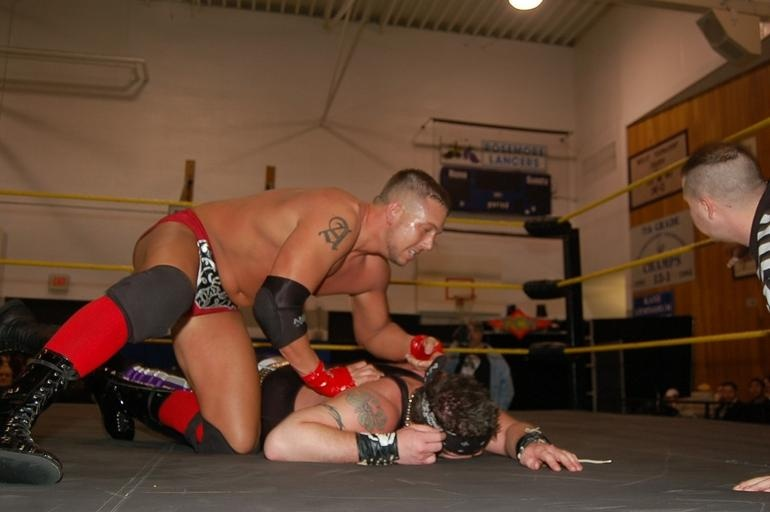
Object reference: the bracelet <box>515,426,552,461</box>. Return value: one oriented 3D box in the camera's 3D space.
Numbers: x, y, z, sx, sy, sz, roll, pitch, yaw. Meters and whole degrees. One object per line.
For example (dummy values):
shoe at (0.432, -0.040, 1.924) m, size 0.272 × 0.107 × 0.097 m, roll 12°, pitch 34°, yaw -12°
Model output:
bracelet at (0.764, 0.978, 3.441) m, size 0.170 × 0.143 × 0.066 m, roll -38°, pitch -2°, yaw -31°

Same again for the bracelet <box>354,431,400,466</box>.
bracelet at (-0.033, 0.958, 3.217) m, size 0.196 × 0.146 × 0.083 m, roll 3°, pitch -5°, yaw -7°
